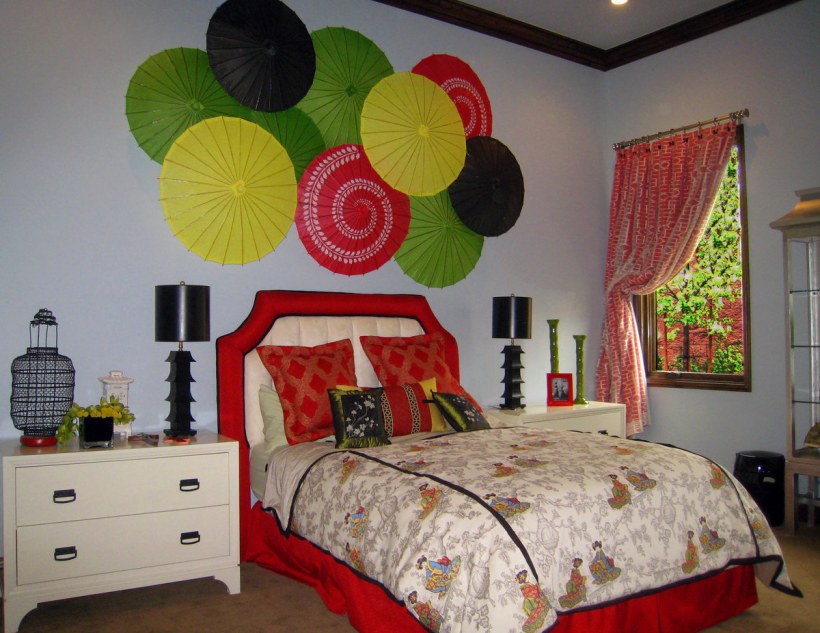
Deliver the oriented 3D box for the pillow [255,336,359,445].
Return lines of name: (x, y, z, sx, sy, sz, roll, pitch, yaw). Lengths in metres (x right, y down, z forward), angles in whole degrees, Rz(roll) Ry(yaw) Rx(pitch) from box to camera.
pillow: (-0.693, 0.462, 4.030, 0.587, 0.635, 0.176, 1, -17, -36)

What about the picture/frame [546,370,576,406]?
picture/frame: (1.290, 0.628, 5.438, 0.261, 0.358, 0.033, 1, -4, -12)

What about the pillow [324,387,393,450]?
pillow: (-0.331, 0.598, 3.755, 0.347, 0.268, 0.351, -1, 12, -11)

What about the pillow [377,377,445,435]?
pillow: (0.002, 0.584, 4.036, 0.404, 0.292, 0.118, -3, -20, -45)

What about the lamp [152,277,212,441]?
lamp: (-1.403, 0.295, 3.810, 0.314, 0.980, 0.584, -4, 13, -23)

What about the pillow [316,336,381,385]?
pillow: (-0.483, 0.327, 4.260, 0.101, 0.342, 0.345, -18, -6, 41)
